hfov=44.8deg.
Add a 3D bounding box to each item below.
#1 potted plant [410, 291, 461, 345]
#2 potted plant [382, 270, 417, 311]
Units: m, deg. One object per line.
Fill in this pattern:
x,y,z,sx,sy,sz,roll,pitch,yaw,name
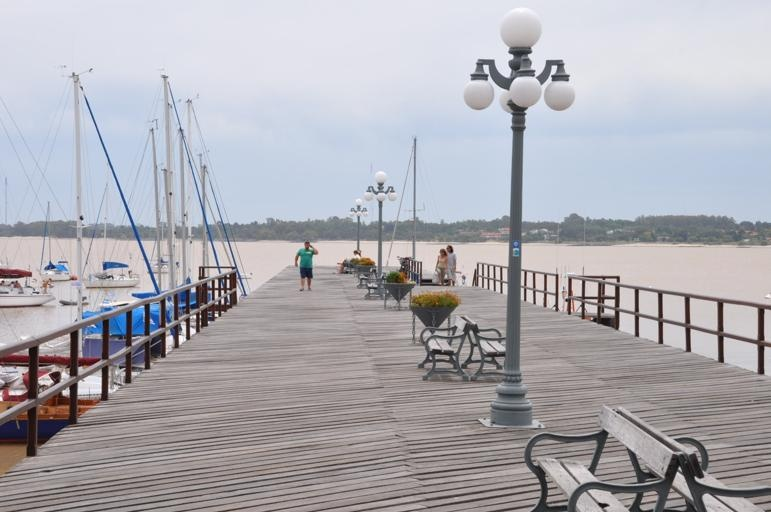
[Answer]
1.125,1.359,20.041,0.981,1.093,0.997,7,-10,-41,potted plant
0.348,0.921,24.859,0.852,1.094,0.976,0,-3,-1,potted plant
